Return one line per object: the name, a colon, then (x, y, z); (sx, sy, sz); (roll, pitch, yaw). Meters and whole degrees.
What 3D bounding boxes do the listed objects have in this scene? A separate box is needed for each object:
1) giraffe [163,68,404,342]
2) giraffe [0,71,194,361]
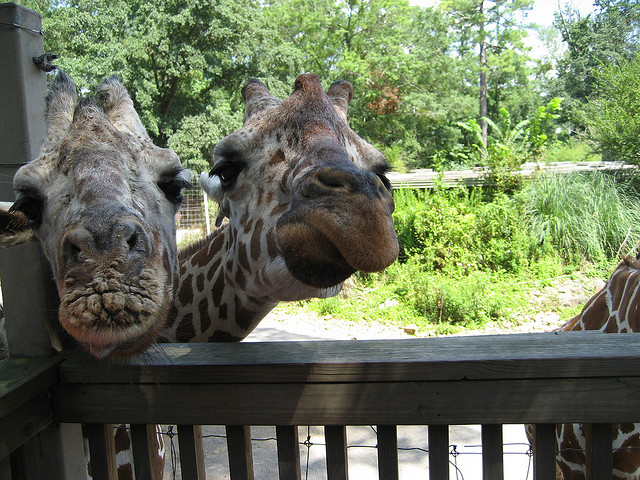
giraffe: (-0.284, -0.178, 4.972); (1.908, 1.929, 0.674); (2, 5, 38)
giraffe: (-1.389, -0.286, 4.995); (1.213, 1.608, 2.232); (-3, 21, -17)
